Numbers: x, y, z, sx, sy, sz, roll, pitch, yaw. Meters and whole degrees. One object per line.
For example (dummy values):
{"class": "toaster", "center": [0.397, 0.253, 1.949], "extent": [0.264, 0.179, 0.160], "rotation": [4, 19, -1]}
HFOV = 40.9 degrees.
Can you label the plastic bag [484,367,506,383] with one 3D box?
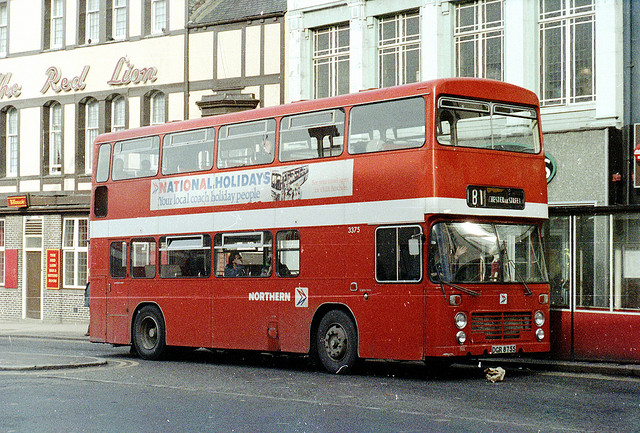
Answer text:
{"class": "plastic bag", "center": [3.664, 3.375, 18.253], "extent": [0.247, 0.173, 0.333], "rotation": [-3, 3, -26]}
